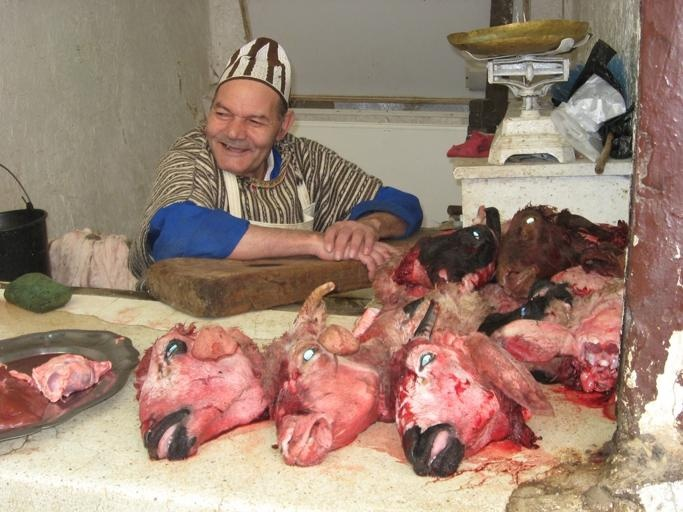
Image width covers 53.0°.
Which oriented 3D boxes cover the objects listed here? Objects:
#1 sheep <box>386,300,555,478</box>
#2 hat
[{"bbox_3d":[0.186,0.205,0.995,0.192,0.222,0.275,-6,35,11],"label":"sheep"},{"bbox_3d":[-0.269,-0.587,2.206,0.182,0.163,0.251,11,25,-10],"label":"hat"}]
